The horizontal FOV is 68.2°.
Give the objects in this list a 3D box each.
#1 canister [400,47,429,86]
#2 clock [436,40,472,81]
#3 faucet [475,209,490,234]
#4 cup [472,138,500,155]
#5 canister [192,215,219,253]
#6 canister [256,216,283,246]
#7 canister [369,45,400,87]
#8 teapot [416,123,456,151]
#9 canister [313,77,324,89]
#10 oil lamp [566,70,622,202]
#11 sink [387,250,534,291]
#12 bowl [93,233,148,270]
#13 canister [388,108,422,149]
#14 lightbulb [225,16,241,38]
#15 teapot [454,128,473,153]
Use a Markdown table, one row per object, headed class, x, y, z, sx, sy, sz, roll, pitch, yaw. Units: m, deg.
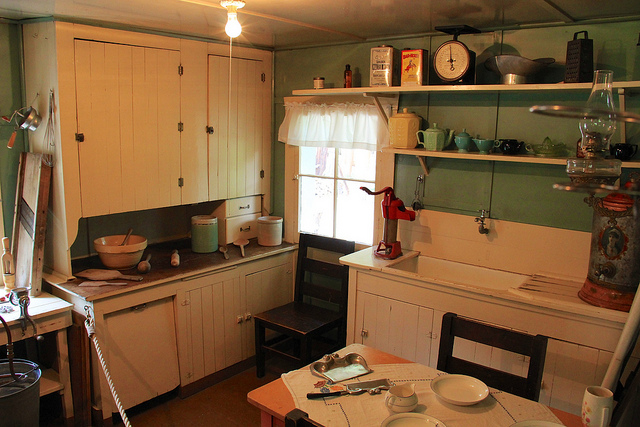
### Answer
| class | x | y | z | sx | sy | sz | roll | pitch | yaw |
| --- | --- | --- | --- | --- | --- | --- | --- | --- | --- |
| canister | 0.808 | -1.254 | 4.080 | 0.235 | 0.346 | 0.246 | 1 | 6 | 0 |
| clock | 1.075 | -1.238 | 3.829 | 0.258 | 0.319 | 0.095 | 12 | 17 | 30 |
| faucet | 1.404 | 0.067 | 4.098 | 0.119 | 0.208 | 0.078 | 4 | 13 | 22 |
| cup | 1.372 | -0.553 | 3.894 | 0.180 | 0.098 | 0.125 | -3 | 10 | -20 |
| canister | -1.125 | 0.190 | 4.686 | 0.319 | 0.350 | 0.317 | 3 | 9 | 11 |
| canister | -0.525 | 0.187 | 4.975 | 0.270 | 0.283 | 0.270 | 4 | 8 | 26 |
| canister | 0.553 | -1.262 | 4.052 | 0.251 | 0.343 | 0.173 | 1 | 12 | 9 |
| teapot | 0.995 | -0.663 | 4.070 | 0.321 | 0.223 | 0.208 | 5 | 13 | 19 |
| canister | -0.006 | -1.243 | 4.493 | 0.097 | 0.100 | 0.096 | -2 | 7 | -10 |
| oil lamp | 1.321 | -0.396 | 2.253 | 0.224 | 0.537 | 0.223 | -5 | 11 | -41 |
| sink | 1.285 | 0.501 | 4.173 | 0.996 | 0.213 | 0.170 | 5 | 13 | 25 |
| bowl | -1.761 | 0.313 | 4.286 | 0.385 | 0.226 | 0.390 | 0 | 11 | 0 |
| canister | 0.821 | -0.766 | 4.230 | 0.309 | 0.362 | 0.313 | 3 | 6 | 12 |
| lightbulb | -0.605 | -1.327 | 3.329 | 0.081 | 0.152 | 0.236 | -2 | 12 | -6 |
| teapot | 1.181 | -0.605 | 3.912 | 0.203 | 0.201 | 0.157 | 4 | 11 | 29 |
